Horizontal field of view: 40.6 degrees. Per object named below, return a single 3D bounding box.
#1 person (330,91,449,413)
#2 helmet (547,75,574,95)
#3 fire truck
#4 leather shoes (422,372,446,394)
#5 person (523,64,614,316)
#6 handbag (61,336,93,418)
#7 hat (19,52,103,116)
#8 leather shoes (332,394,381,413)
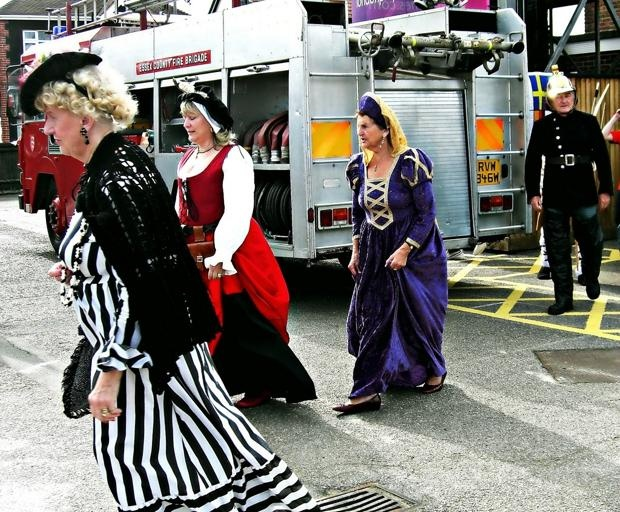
[{"bbox_3d":[0.556,-0.030,5.624,0.703,2.074,0.735,0,10,8],"label":"person"},{"bbox_3d":[2.430,-1.644,8.172,0.269,0.230,0.275,-11,14,-43],"label":"helmet"},{"bbox_3d":[-0.551,-1.523,10.220,3.053,2.014,5.285,-5,8,-36],"label":"fire truck"},{"bbox_3d":[0.872,0.900,5.894,0.081,0.055,0.224,-11,-1,38],"label":"leather shoes"},{"bbox_3d":[2.589,-0.604,8.257,0.765,2.266,0.625,-3,11,-11],"label":"person"},{"bbox_3d":[-0.963,0.507,3.467,0.197,0.312,0.083,-6,-11,41],"label":"handbag"},{"bbox_3d":[-0.953,-0.651,3.182,0.321,0.236,0.176,-1,10,1],"label":"hat"},{"bbox_3d":[0.329,0.993,5.584,0.358,0.130,0.112,-1,-1,-11],"label":"leather shoes"}]
